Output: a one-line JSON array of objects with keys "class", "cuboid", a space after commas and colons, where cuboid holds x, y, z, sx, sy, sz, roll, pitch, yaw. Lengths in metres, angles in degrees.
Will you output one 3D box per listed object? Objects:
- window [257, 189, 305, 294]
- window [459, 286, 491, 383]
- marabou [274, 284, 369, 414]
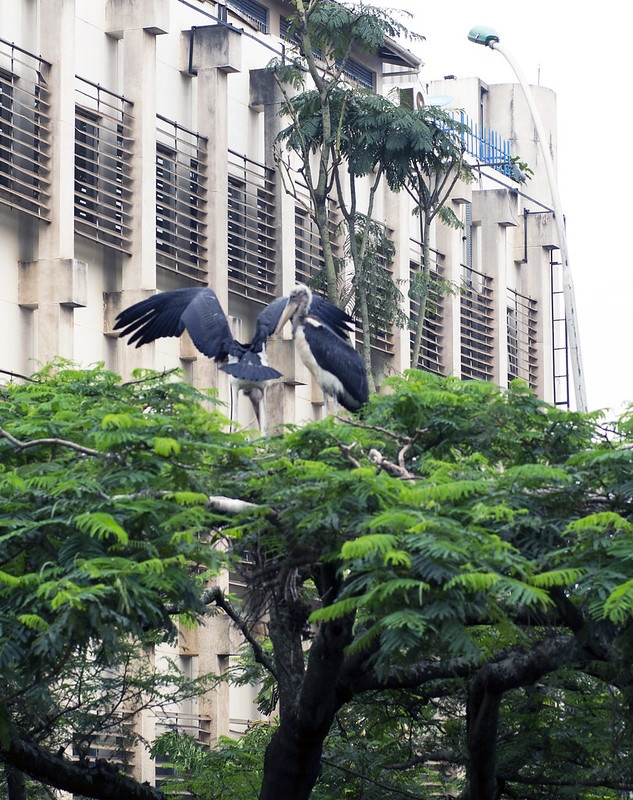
[{"class": "window", "cuboid": [-0.506, -2.212, 36.862, 0.137, 1.960, 1.533, -3, -9, 21]}, {"class": "window", "cuboid": [2.710, -1.094, 44.834, 0.159, 1.731, 1.559, -2, -5, 17]}, {"class": "marabou", "cuboid": [0.069, -0.460, 27.585, 0.891, 1.584, 0.487, -8, 0, -29]}]
